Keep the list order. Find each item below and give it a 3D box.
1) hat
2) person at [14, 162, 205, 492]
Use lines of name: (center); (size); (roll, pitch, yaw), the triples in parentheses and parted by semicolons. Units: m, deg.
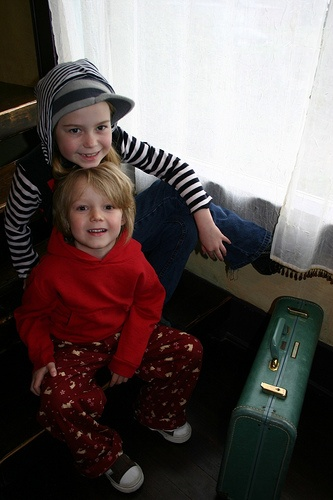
hat: (-0.165, -0.299, 0.804); (0.141, 0.076, 0.108); (-21, 12, 23)
person: (-0.132, 0.218, 0.912); (0.441, 0.786, 0.370); (-19, 38, -35)
